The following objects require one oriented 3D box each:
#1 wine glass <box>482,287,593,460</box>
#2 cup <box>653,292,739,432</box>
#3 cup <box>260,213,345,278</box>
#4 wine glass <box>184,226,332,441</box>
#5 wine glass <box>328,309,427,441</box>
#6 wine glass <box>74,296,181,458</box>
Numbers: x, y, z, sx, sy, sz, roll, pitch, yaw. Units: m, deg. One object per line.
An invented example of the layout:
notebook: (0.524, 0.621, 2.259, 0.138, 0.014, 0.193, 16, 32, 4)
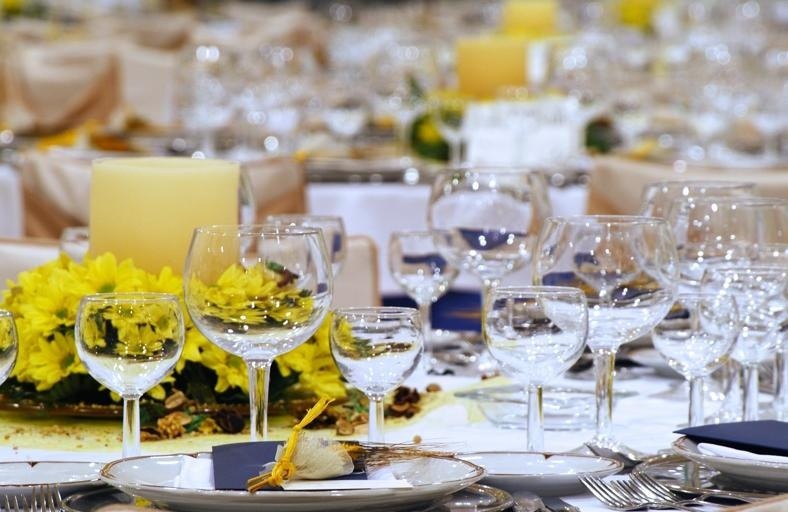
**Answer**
wine glass: (0.193, 0.144, 1.466, 0.124, 0.210, 0.129, -2, -3, 24)
cup: (0.402, 0.139, 1.557, 0.107, 0.178, 0.155, -1, -3, -4)
cup: (-0.155, -0.018, 1.978, 0.119, 0.122, 0.116, 1, 1, 0)
wine glass: (-0.171, 0.095, 1.455, 0.188, 0.275, 0.071, 0, -2, -9)
wine glass: (-0.018, 0.148, 1.436, 0.087, 0.169, 0.101, -3, -4, 45)
wine glass: (-0.338, 0.147, 1.427, 0.114, 0.203, 0.115, 1, -3, -35)
